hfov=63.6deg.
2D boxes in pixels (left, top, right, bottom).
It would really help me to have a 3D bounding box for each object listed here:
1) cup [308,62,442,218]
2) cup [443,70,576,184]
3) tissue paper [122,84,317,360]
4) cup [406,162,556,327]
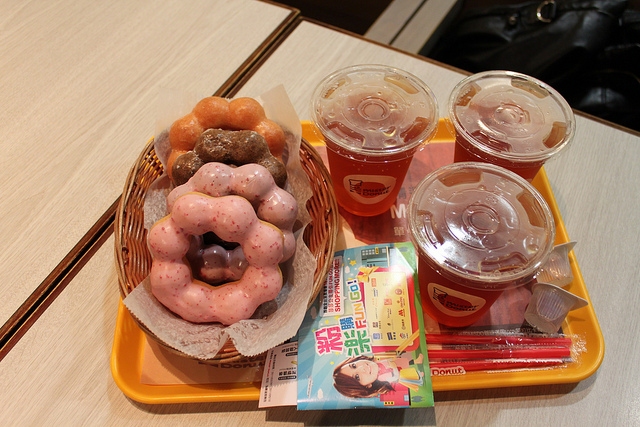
[{"bbox_3d":[0.146,-0.224,1.677,0.390,0.349,0.411,0,56,0],"label":"cup"},{"bbox_3d":[0.556,-0.201,1.642,0.290,0.368,0.298,0,52,0],"label":"cup"},{"bbox_3d":[-0.251,0.111,1.459,0.442,0.729,0.553,-18,40,-29],"label":"tissue paper"},{"bbox_3d":[0.414,0.080,1.534,0.391,0.364,0.395,-1,66,3],"label":"cup"}]
